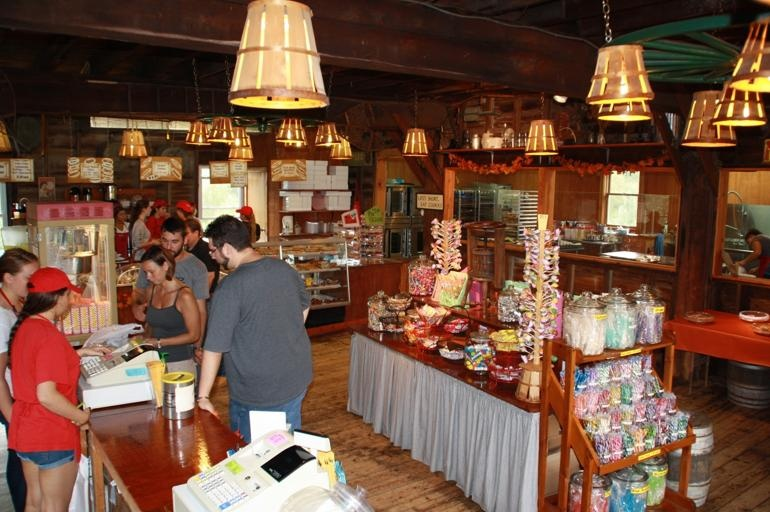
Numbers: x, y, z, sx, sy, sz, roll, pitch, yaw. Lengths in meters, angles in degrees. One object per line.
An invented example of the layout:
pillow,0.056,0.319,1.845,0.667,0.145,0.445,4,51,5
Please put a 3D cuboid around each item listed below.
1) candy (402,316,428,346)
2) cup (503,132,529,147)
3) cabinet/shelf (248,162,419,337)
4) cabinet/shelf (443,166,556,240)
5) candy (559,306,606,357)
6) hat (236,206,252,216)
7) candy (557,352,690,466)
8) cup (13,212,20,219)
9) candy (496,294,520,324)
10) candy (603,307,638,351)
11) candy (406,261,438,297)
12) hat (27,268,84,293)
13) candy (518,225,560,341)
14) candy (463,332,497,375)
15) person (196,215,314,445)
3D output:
candy,0.325,0.812,6.013,0.268,0.181,0.271,3,-1,4
cup,2.175,-1.938,9.268,0.334,0.208,0.323,0,6,0
cabinet/shelf,-1.099,0.051,10.098,1.764,2.146,3.455,1,3,44
cabinet/shelf,2.640,-1.151,11.918,2.015,1.528,5.227,0,5,16
candy,1.575,0.579,4.343,0.386,0.393,0.369,0,3,2
hat,-2.614,-0.835,10.282,0.261,0.131,0.193,30,30,29
candy,1.989,1.240,4.616,0.935,0.364,0.888,-4,9,-22
cup,-7.341,-0.814,10.945,0.123,0.121,0.120,0,1,0
candy,1.227,0.528,5.480,0.274,0.272,0.262,0,1,2
candy,1.867,0.582,4.464,0.342,0.346,0.326,0,3,1
candy,0.419,0.256,6.608,0.414,0.420,0.394,0,2,0
hat,-2.414,0.175,4.009,0.265,0.132,0.172,-2,6,-35
candy,1.332,0.285,4.783,0.334,1.041,0.386,-1,6,14
candy,0.911,0.935,5.280,0.271,0.388,0.173,-1,6,10
person,-1.027,0.575,4.281,0.865,1.770,0.303,-4,6,-17
